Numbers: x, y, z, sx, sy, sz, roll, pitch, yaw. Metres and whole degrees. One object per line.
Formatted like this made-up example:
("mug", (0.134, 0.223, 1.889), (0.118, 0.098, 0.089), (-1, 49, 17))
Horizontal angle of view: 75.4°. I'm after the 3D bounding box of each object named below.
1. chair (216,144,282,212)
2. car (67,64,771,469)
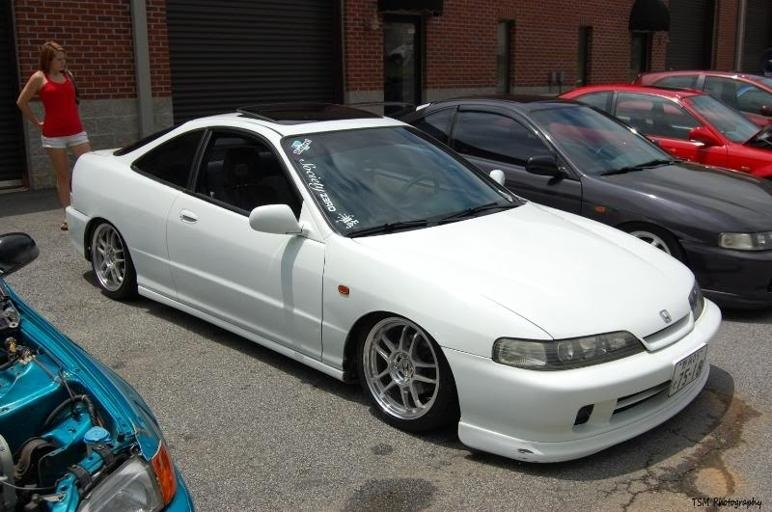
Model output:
("chair", (-1.321, -0.699, 4.459), (0.400, 0.480, 0.476), (5, 29, 7))
("car", (-0.412, -0.292, 4.394), (5.454, 1.561, 2.543), (17, 28, 33))
